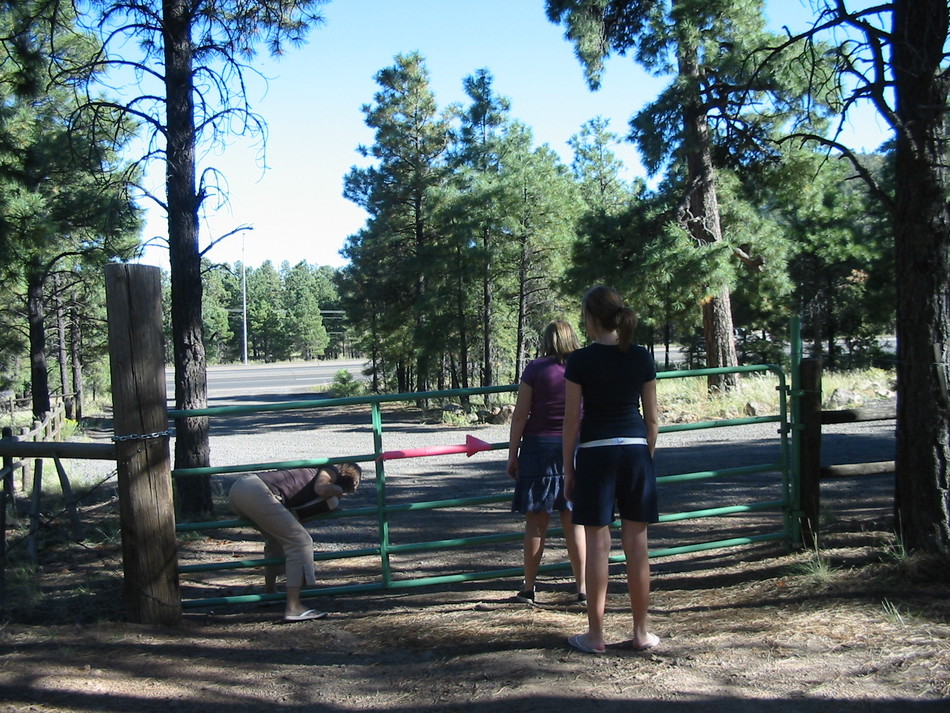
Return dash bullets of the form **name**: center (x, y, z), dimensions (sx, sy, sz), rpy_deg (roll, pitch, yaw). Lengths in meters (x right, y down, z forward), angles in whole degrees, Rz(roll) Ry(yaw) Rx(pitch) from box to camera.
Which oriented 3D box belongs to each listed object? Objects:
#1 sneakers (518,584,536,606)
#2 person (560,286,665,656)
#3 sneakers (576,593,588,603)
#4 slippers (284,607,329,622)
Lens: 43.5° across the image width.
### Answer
- **sneakers**: center (0.523, 2.368, 11.838), dimensions (0.183, 0.207, 0.119), rpy_deg (-2, -7, 23)
- **person**: center (1.231, 1.001, 10.701), dimensions (0.847, 3.218, 0.643), rpy_deg (-1, 6, 5)
- **sneakers**: center (1.064, 2.384, 11.760), dimensions (0.087, 0.111, 0.140), rpy_deg (4, -14, -9)
- **slippers**: center (-1.667, 2.511, 11.632), dimensions (0.286, 0.113, 0.178), rpy_deg (0, -1, -6)
